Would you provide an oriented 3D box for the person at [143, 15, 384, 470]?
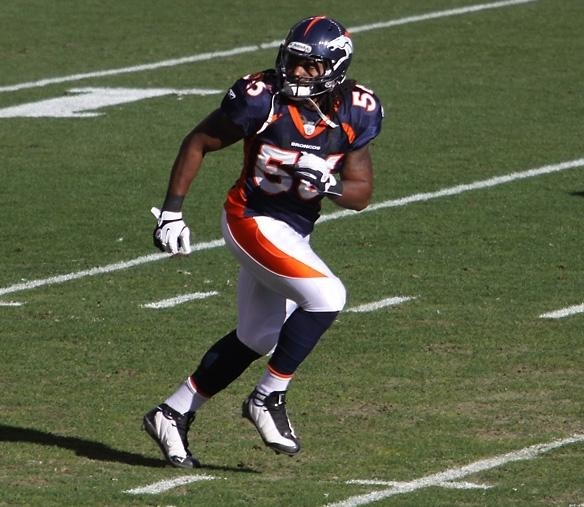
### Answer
[{"bbox_3d":[-0.224,-0.048,7.792,1.275,2.644,1.146,8,27,2],"label":"person"}]

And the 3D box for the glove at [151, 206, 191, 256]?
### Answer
[{"bbox_3d":[-0.723,-0.125,7.774,0.306,0.207,0.117,56,7,24],"label":"glove"}]

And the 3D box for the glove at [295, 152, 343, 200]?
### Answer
[{"bbox_3d":[0.136,-0.441,7.600,0.296,0.303,0.247,0,26,-13],"label":"glove"}]

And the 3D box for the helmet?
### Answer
[{"bbox_3d":[0.121,-1.139,7.624,0.430,0.436,0.388,6,25,0],"label":"helmet"}]
